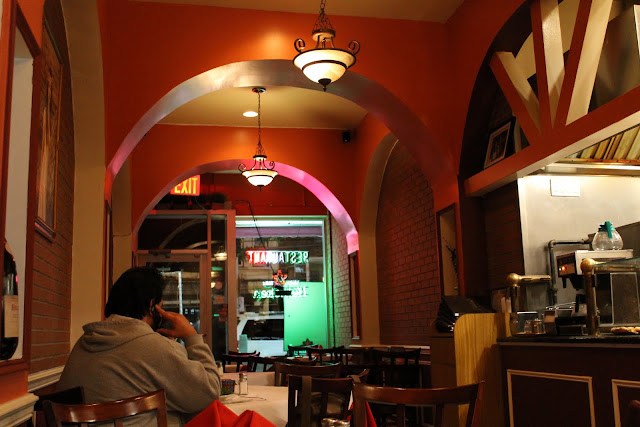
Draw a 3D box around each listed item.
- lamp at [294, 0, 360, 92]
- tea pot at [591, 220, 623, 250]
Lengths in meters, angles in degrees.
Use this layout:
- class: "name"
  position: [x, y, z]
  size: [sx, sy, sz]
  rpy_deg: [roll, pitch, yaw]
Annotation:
- class: "lamp"
  position: [0.092, -1.970, 6.136]
  size: [0.859, 1.247, 0.896]
  rpy_deg: [0, -14, 0]
- class: "tea pot"
  position: [2.683, 0.235, 5.012]
  size: [0.263, 0.287, 0.273]
  rpy_deg: [0, -8, 0]
